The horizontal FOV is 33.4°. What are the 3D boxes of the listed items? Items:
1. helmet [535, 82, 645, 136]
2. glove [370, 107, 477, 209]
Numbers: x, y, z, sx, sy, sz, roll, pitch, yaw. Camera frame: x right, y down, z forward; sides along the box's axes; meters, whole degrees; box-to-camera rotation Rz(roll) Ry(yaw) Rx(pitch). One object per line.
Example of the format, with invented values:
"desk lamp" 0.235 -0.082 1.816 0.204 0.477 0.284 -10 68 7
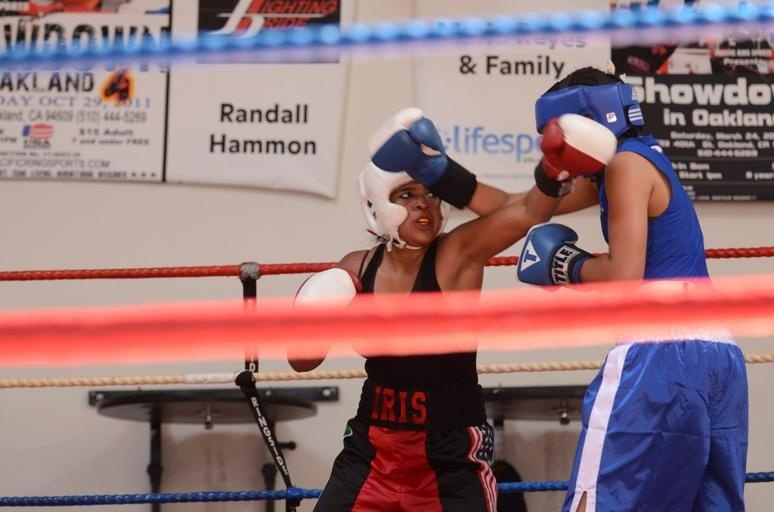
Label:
"helmet" 0.908 -0.649 5.701 0.351 0.180 0.268 1 2 14
"glove" 0.150 -0.417 5.893 0.538 0.327 0.232 34 -19 -13
